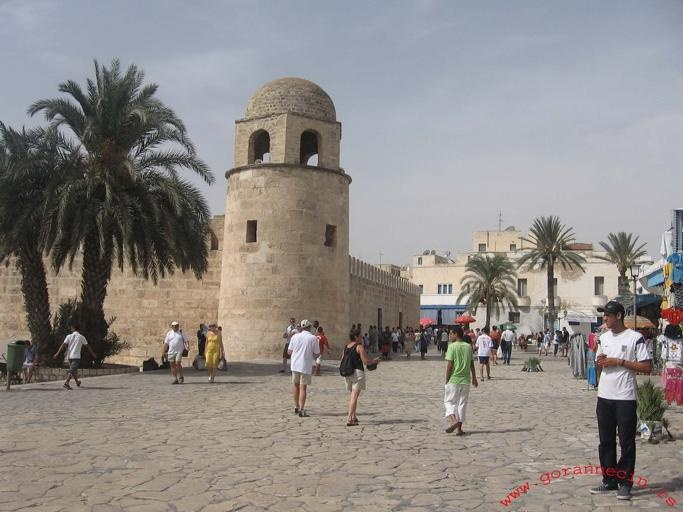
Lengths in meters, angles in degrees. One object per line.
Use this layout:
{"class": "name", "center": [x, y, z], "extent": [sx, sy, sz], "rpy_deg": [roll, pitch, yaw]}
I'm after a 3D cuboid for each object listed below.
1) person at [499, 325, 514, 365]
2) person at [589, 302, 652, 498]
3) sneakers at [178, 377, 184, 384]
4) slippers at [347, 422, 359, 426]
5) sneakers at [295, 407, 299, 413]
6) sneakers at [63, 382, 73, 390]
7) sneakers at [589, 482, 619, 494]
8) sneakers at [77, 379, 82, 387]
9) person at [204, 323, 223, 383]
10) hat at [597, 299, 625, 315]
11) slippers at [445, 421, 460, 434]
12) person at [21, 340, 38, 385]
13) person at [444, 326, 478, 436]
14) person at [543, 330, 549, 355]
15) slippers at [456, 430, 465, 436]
{"class": "person", "center": [6.666, 3.524, 33.917], "extent": [0.531, 1.514, 0.500], "rpy_deg": [2, 0, 4]}
{"class": "person", "center": [3.761, 1.905, 11.368], "extent": [0.711, 2.329, 0.531], "rpy_deg": [0, 0, 20]}
{"class": "sneakers", "center": [-4.032, 3.130, 21.318], "extent": [0.149, 0.163, 0.144], "rpy_deg": [4, 2, 38]}
{"class": "slippers", "center": [0.201, 2.981, 15.034], "extent": [0.194, 0.075, 0.064], "rpy_deg": [-2, 1, -36]}
{"class": "sneakers", "center": [-0.856, 2.930, 16.144], "extent": [0.100, 0.116, 0.272], "rpy_deg": [0, -12, -3]}
{"class": "sneakers", "center": [-6.486, 3.072, 19.976], "extent": [0.216, 0.098, 0.072], "rpy_deg": [46, -8, -13]}
{"class": "sneakers", "center": [3.542, 3.107, 11.405], "extent": [0.411, 0.174, 0.150], "rpy_deg": [3, -7, 2]}
{"class": "sneakers", "center": [-6.275, 3.088, 20.253], "extent": [0.094, 0.255, 0.108], "rpy_deg": [-4, 33, -13]}
{"class": "person", "center": [-3.277, 2.473, 21.733], "extent": [0.341, 1.500, 1.254], "rpy_deg": [1, 0, -6]}
{"class": "hat", "center": [3.710, 0.713, 11.544], "extent": [0.351, 0.189, 0.218], "rpy_deg": [9, -7, -3]}
{"class": "slippers", "center": [1.909, 2.914, 14.401], "extent": [0.262, 0.189, 0.196], "rpy_deg": [1, 0, 8]}
{"class": "person", "center": [-8.912, 3.055, 24.181], "extent": [0.382, 1.301, 1.875], "rpy_deg": [1, 0, -20]}
{"class": "person", "center": [2.058, 2.122, 14.691], "extent": [0.483, 1.742, 0.880], "rpy_deg": [1, 0, 14]}
{"class": "person", "center": [10.770, 4.634, 44.332], "extent": [0.289, 1.055, 0.783], "rpy_deg": [1, 0, 11]}
{"class": "slippers", "center": [2.034, 2.983, 14.397], "extent": [0.145, 0.080, 0.316], "rpy_deg": [0, 0, 12]}
